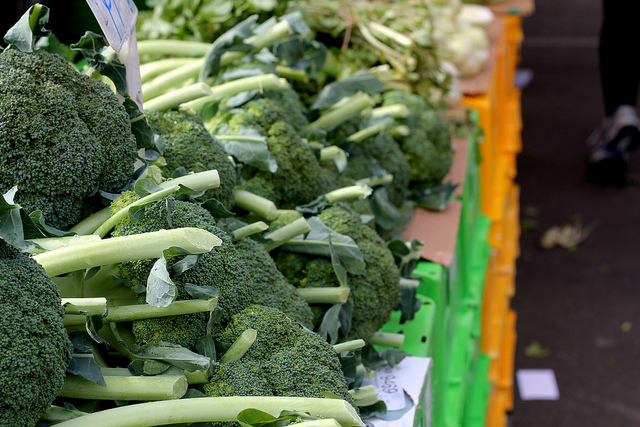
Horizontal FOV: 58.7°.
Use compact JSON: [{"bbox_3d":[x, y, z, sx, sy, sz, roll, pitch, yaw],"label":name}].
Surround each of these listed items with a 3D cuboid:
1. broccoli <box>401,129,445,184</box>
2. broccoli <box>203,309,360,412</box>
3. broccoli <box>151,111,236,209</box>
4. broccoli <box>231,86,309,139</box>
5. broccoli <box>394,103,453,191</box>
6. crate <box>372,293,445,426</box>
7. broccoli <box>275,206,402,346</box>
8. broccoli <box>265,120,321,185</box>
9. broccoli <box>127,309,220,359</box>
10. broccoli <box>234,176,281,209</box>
[{"bbox_3d":[0.676,-0.369,3.735,0.134,0.339,0.270,-31,12,19],"label":"broccoli"},{"bbox_3d":[-0.152,0.518,2.094,0.357,0.395,0.148,28,92,-9],"label":"broccoli"},{"bbox_3d":[-0.565,-0.271,2.469,0.349,0.196,0.425,6,46,-36],"label":"broccoli"},{"bbox_3d":[-0.255,-0.520,2.881,0.341,0.169,0.261,5,1,21],"label":"broccoli"},{"bbox_3d":[0.700,-0.426,3.717,0.444,0.535,0.232,-7,7,-38],"label":"broccoli"},{"bbox_3d":[0.410,0.699,2.711,0.364,0.468,0.645,-1,15,12],"label":"crate"},{"bbox_3d":[0.180,0.291,2.665,0.687,0.541,0.320,-5,31,9],"label":"broccoli"},{"bbox_3d":[-0.126,-0.294,2.785,0.237,0.126,0.306,-34,97,-40],"label":"broccoli"},{"bbox_3d":[-0.570,0.402,2.072,0.265,0.338,0.135,-5,84,17],"label":"broccoli"},{"bbox_3d":[-0.276,-0.092,2.798,0.235,0.094,0.287,-14,23,-10],"label":"broccoli"}]
